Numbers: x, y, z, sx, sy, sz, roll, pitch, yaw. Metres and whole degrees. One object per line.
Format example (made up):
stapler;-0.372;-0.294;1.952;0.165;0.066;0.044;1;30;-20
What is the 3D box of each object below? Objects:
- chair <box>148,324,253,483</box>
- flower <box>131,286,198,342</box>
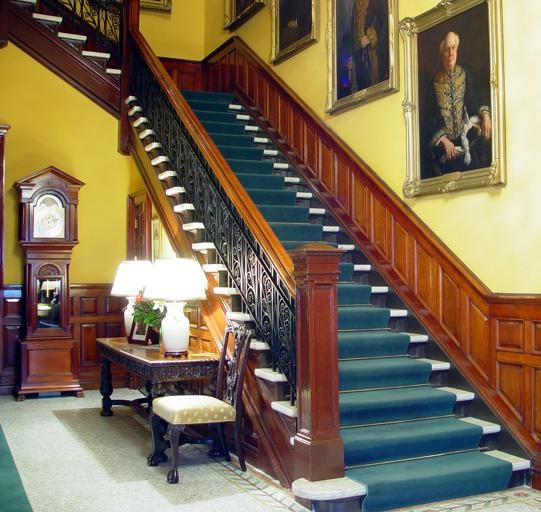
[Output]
chair;-0.561;1.086;4.385;0.735;1.100;0.955;0;0;-16
flower;-1.135;0.534;5.673;0.510;0.657;0.496;2;-1;-41
